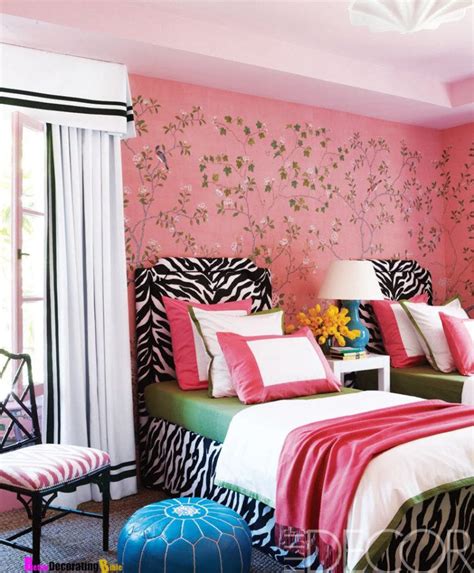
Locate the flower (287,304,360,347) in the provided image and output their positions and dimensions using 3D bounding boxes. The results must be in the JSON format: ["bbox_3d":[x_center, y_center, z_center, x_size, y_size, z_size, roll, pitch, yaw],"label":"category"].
[{"bbox_3d":[0.617,0.263,3.399,0.371,0.242,0.366,1,0,22],"label":"flower"}]

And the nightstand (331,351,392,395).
[{"bbox_3d":[0.820,0.614,3.309,0.311,0.356,0.400,-1,0,-8],"label":"nightstand"}]

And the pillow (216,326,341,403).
[{"bbox_3d":[0.226,0.392,2.438,0.581,0.322,0.296,-1,1,-28],"label":"pillow"}]

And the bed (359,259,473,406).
[{"bbox_3d":[1.346,0.281,3.520,0.959,0.661,0.911,-2,5,-26],"label":"bed"}]

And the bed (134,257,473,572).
[{"bbox_3d":[0.113,0.466,2.543,1.464,0.913,1.354,-2,2,-41],"label":"bed"}]

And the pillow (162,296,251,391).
[{"bbox_3d":[-0.182,0.300,2.692,0.513,0.450,0.143,-1,-12,-41],"label":"pillow"}]

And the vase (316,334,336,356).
[{"bbox_3d":[0.604,0.394,3.344,0.127,0.185,0.117,0,-13,0],"label":"vase"}]

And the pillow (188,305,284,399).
[{"bbox_3d":[-0.034,0.360,2.579,0.498,0.442,0.141,0,-16,-15],"label":"pillow"}]

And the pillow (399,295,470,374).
[{"bbox_3d":[1.302,0.348,3.390,0.143,0.460,0.494,-26,-14,41],"label":"pillow"}]
